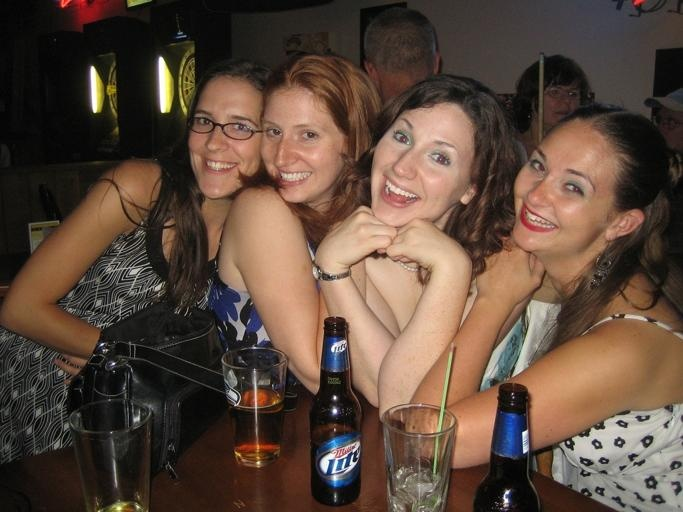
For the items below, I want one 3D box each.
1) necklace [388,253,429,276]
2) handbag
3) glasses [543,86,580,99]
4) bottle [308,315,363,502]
[{"bbox_3d":[0.270,0.036,2.486,0.112,0.030,0.085,31,-8,-24],"label":"necklace"},{"bbox_3d":[-0.526,0.412,1.850,0.429,0.377,0.515,2,13,12],"label":"handbag"},{"bbox_3d":[1.569,-1.154,4.201,0.132,0.039,0.136,1,-4,-3],"label":"glasses"},{"bbox_3d":[-0.014,0.415,1.626,0.150,0.515,0.179,2,8,1],"label":"bottle"}]
